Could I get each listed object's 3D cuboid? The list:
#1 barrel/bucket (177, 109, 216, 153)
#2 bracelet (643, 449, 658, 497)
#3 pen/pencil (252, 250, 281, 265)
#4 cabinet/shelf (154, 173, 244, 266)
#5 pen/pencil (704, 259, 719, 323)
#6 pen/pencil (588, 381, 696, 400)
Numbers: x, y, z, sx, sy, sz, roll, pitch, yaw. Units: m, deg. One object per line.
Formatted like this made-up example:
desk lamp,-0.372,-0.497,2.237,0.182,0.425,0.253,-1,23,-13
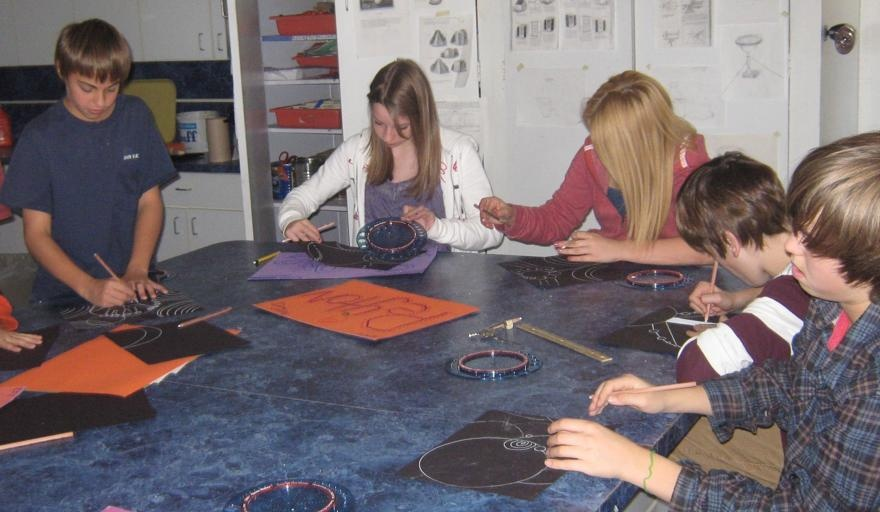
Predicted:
barrel/bucket,-1.828,-0.921,5.017,0.352,0.291,0.349,-1,6,0
bracelet,0.510,0.542,1.651,0.027,0.088,0.073,5,-3,11
pen/pencil,-0.737,0.007,2.834,0.284,0.027,0.031,-8,10,44
cabinet/shelf,-1.472,-0.260,4.173,0.695,0.548,0.309,3,11,20
pen/pencil,0.912,0.125,2.262,0.019,0.017,0.244,21,55,-5
pen/pencil,0.539,0.362,1.792,0.418,0.026,0.029,-4,-5,0
